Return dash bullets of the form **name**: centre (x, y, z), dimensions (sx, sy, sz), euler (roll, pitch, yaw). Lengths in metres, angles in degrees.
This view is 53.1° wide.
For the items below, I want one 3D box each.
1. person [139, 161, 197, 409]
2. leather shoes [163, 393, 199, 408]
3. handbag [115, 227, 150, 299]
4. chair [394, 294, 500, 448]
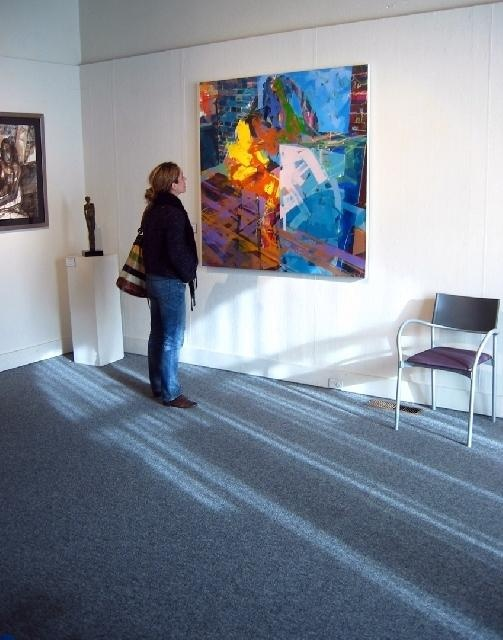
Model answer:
- **person**: centre (-0.623, -0.224, 3.713), dimensions (0.363, 1.795, 0.569), euler (-6, 8, -40)
- **leather shoes**: centre (-0.558, 0.610, 3.811), dimensions (0.197, 0.093, 0.103), euler (2, 6, 5)
- **handbag**: centre (-0.893, -0.431, 3.903), dimensions (0.242, 0.510, 0.263), euler (4, 17, -30)
- **chair**: centre (1.390, 0.351, 3.505), dimensions (0.667, 1.201, 0.737), euler (7, 13, 37)
